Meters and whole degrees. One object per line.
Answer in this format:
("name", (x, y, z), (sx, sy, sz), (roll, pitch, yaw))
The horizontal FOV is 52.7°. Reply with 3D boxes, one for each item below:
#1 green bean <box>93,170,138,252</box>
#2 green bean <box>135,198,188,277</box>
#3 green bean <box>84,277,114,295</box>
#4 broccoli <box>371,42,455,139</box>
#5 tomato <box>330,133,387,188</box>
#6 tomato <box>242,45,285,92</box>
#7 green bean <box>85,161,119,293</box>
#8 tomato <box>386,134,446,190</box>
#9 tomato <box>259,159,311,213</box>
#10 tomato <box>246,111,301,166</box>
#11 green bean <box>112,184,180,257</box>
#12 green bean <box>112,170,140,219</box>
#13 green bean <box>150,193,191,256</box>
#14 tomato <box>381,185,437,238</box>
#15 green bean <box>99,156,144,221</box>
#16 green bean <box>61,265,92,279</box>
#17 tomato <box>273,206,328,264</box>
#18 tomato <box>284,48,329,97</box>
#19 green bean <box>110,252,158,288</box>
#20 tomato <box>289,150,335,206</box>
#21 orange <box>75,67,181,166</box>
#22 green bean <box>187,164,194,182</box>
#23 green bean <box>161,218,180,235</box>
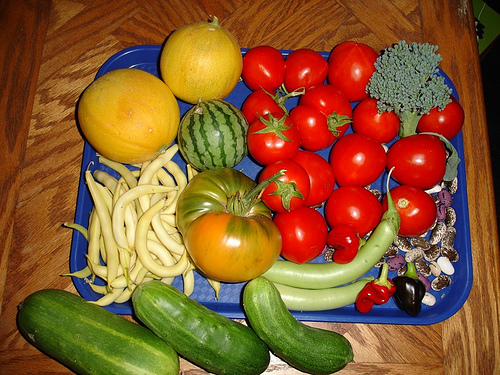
("green bean", (-0.458, 0.066, 1.756), (0.102, 0.344, 0.074), (-12, 2, 2))
("green bean", (-0.322, 0.217, 1.823), (0.227, 0.343, 0.064), (-28, -57, 21))
("green bean", (-0.517, 0.339, 1.722), (0.076, 0.033, 0.021), (28, -26, 23))
("broccoli", (0.527, -0.369, 1.914), (0.293, 0.387, 0.322), (-3, 18, -7))
("tomato", (0.406, -0.111, 1.857), (0.213, 0.244, 0.218), (-3, -4, 27))
("tomato", (0.054, -0.431, 1.901), (0.148, 0.169, 0.148), (2, -1, 6))
("green bean", (-0.485, 0.146, 1.737), (0.061, 0.537, 0.075), (-14, -5, 21))
("tomato", (0.594, -0.094, 1.797), (0.186, 0.203, 0.197), (6, 23, 19))
("tomato", (0.114, -0.002, 1.731), (0.153, 0.176, 0.165), (-10, 10, 0))
("tomato", (0.078, -0.163, 1.686), (0.148, 0.173, 0.166), (4, -21, -2))
("green bean", (-0.333, 0.110, 1.806), (0.267, 0.098, 0.339), (-2, 16, -2))
("green bean", (-0.436, 0.006, 1.753), (0.086, 0.123, 0.029), (14, -10, -34))
("green bean", (-0.277, 0.144, 1.712), (0.098, 0.241, 0.065), (-2, -13, -25))
("tomato", (0.594, 0.088, 1.883), (0.213, 0.235, 0.204), (3, 12, 25))
("green bean", (-0.451, -0.045, 1.807), (0.073, 0.310, 0.088), (-30, -8, 39))
("green bean", (-0.613, 0.290, 1.752), (0.120, 0.053, 0.035), (-1, -26, 22))
("tomato", (0.176, 0.164, 1.807), (0.183, 0.189, 0.170), (1, -4, -36))
("tomato", (0.209, -0.439, 1.906), (0.188, 0.171, 0.159), (-7, 9, 9))
("green bean", (-0.388, 0.296, 1.731), (0.047, 0.199, 0.067), (20, -26, 29))
("tomato", (0.234, -0.042, 1.815), (0.165, 0.182, 0.140), (4, 9, 31))
("orange", (-0.443, -0.239, 1.828), (0.336, 0.344, 0.413), (-11, 37, -34))
("green bean", (-0.212, -0.051, 1.777), (0.012, 0.066, 0.016), (-2, -4, 3))
("green bean", (-0.276, 0.139, 1.731), (0.086, 0.032, 0.023), (46, -18, -18))
